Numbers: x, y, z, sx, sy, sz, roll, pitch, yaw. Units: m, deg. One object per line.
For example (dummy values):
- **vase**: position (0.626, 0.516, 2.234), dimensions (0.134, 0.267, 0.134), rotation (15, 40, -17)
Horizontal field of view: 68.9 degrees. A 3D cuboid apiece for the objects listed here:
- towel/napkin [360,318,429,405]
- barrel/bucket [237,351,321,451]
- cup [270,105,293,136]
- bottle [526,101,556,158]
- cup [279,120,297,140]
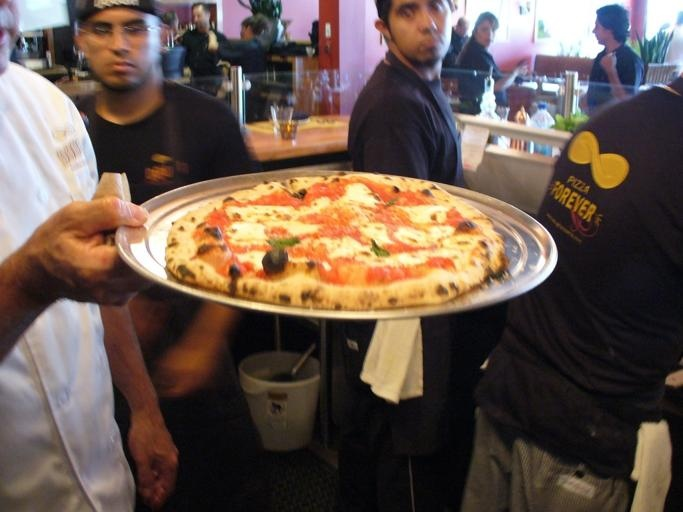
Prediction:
- **towel/napkin**: position (0.214, 0.405, 2.082), dimensions (0.151, 0.351, 0.238), rotation (5, 8, -40)
- **barrel/bucket**: position (-0.389, 0.857, 3.182), dimensions (0.486, 0.464, 0.514), rotation (0, 14, 0)
- **cup**: position (-0.481, -1.094, 4.156), dimensions (0.188, 0.235, 0.121), rotation (-2, 14, -17)
- **bottle**: position (1.440, -0.927, 3.580), dimensions (0.131, 0.399, 0.153), rotation (7, 51, 24)
- **cup**: position (-0.442, -1.047, 4.178), dimensions (0.140, 0.128, 0.132), rotation (1, 10, 0)
